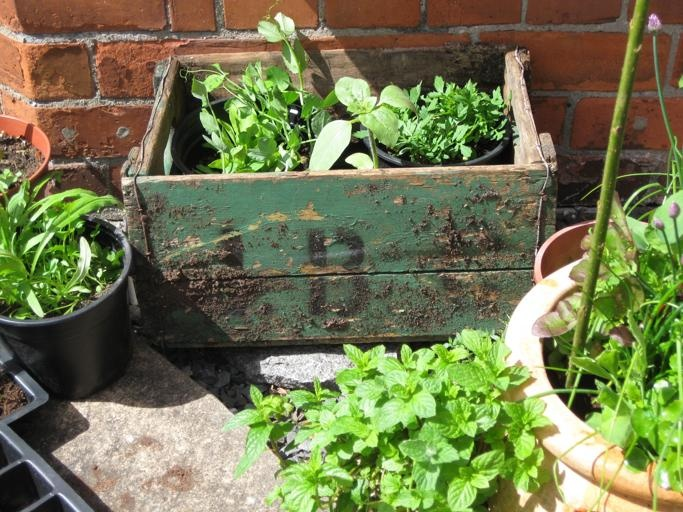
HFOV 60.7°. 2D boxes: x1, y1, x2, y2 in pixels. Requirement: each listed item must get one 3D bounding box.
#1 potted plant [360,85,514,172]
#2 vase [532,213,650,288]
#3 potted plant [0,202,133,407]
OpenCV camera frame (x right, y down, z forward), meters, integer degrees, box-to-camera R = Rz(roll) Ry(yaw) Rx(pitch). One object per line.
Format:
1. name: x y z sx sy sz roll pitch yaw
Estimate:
1. potted plant: 0.280 -0.362 1.625 0.331 0.115 0.307 28 51 34
2. vase: 0.561 -0.003 1.329 0.057 0.164 0.156 35 40 5
3. potted plant: -0.607 0.131 1.504 0.385 0.297 0.388 -8 45 -9
